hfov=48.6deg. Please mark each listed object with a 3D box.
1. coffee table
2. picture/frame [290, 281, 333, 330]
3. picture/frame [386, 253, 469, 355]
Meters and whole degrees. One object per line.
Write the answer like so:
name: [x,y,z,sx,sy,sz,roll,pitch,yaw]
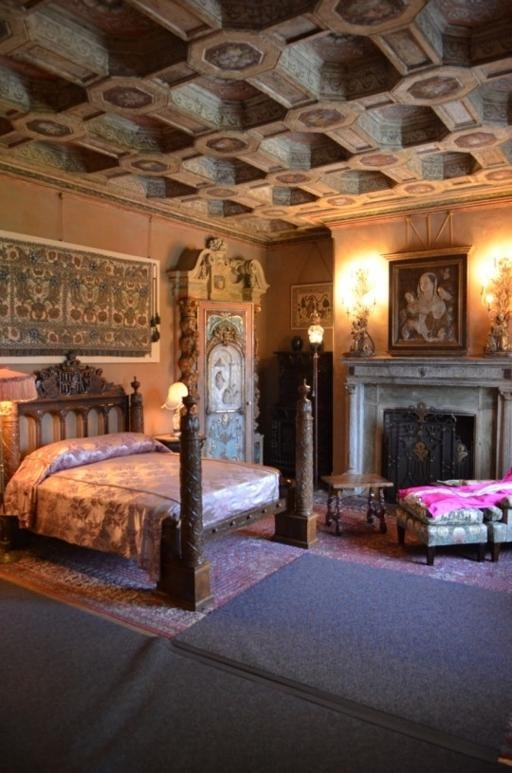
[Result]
coffee table: [1.065,1.191,6.019,0.634,0.541,0.628,1,0,-5]
picture/frame: [0.829,-1.212,8.336,0.818,0.784,0.084,9,13,41]
picture/frame: [2.026,-0.971,6.601,1.196,1.588,0.125,2,4,37]
